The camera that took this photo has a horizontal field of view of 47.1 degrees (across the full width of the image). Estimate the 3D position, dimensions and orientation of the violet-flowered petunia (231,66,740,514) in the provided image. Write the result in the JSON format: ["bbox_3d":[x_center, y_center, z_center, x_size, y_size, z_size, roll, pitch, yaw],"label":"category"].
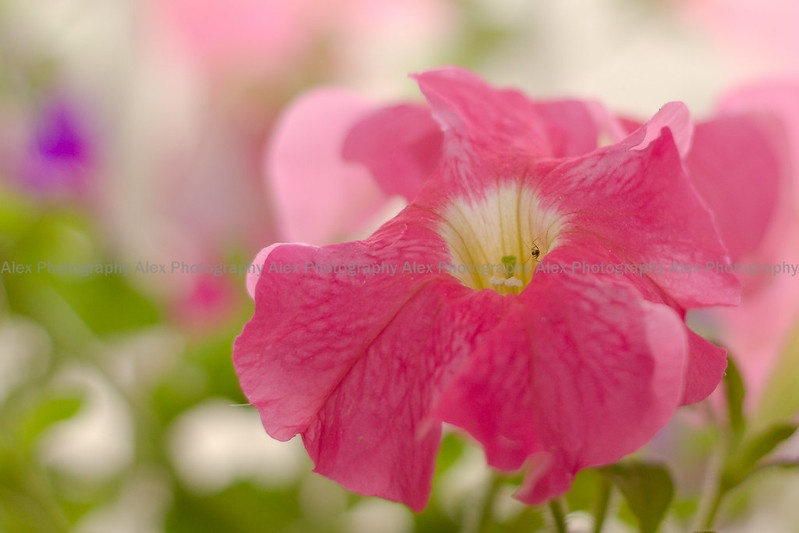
[{"bbox_3d":[0.102,0.069,0.656,0.311,0.138,0.284,-40,57,-7],"label":"violet-flowered petunia"}]
